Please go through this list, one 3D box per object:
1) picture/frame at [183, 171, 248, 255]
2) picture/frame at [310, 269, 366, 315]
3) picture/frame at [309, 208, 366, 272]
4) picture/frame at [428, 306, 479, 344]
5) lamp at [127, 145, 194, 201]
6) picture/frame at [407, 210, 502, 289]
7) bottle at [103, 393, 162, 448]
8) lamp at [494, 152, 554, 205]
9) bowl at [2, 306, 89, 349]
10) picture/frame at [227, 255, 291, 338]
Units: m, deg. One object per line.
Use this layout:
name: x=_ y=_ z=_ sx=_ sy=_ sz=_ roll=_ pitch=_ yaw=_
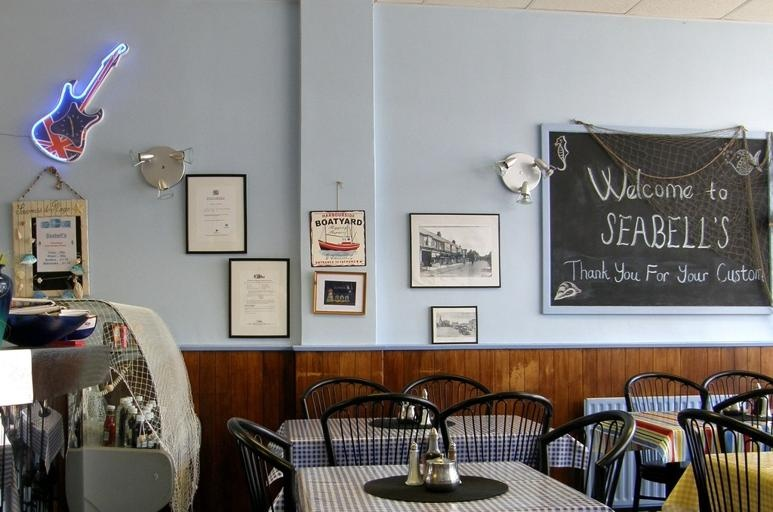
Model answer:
picture/frame: x=-1.415 y=-0.327 z=6.742 sx=0.639 sy=0.846 sz=0.034 roll=1 pitch=-1 yaw=-5
picture/frame: x=-0.417 y=0.298 z=6.679 sx=0.348 sy=0.289 sz=0.027 roll=0 pitch=-6 yaw=-3
picture/frame: x=-0.427 y=-0.138 z=6.701 sx=0.487 sy=0.507 sz=0.034 roll=-1 pitch=-1 yaw=-4
picture/frame: x=0.558 y=0.570 z=6.860 sx=0.392 sy=0.331 sz=0.121 roll=-1 pitch=-1 yaw=6
lamp: x=-1.815 y=-0.691 z=6.818 sx=0.447 sy=0.426 sz=0.181 roll=-8 pitch=1 yaw=-5
picture/frame: x=0.520 y=-0.038 z=6.848 sx=0.633 sy=0.483 sz=0.012 roll=0 pitch=-6 yaw=-6
bottle: x=-1.601 y=1.078 z=5.324 sx=0.341 sy=0.370 sz=0.266 roll=3 pitch=-10 yaw=-6
lamp: x=1.135 y=-0.664 z=6.834 sx=0.469 sy=0.441 sz=0.230 roll=4 pitch=-8 yaw=-6
bowl: x=-1.691 y=0.350 z=4.103 sx=0.385 sy=0.191 sz=0.165 roll=0 pitch=-7 yaw=-22
picture/frame: x=-1.064 y=0.352 z=6.727 sx=0.631 sy=0.827 sz=0.030 roll=1 pitch=-1 yaw=-5
